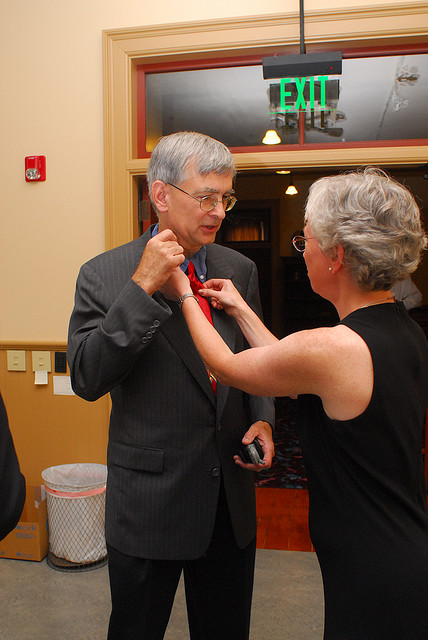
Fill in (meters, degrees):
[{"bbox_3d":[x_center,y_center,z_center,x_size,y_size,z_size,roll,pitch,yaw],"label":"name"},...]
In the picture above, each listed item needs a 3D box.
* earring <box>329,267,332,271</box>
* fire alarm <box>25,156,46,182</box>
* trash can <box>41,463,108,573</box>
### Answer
[{"bbox_3d":[0.237,-0.104,1.020,0.003,0.007,0.011,-4,15,-10],"label":"earring"},{"bbox_3d":[-0.999,-0.849,2.777,0.127,0.136,0.044,1,3,4],"label":"fire alarm"},{"bbox_3d":[-0.718,1.037,2.578,0.348,0.485,0.581,-5,15,-15],"label":"trash can"}]
